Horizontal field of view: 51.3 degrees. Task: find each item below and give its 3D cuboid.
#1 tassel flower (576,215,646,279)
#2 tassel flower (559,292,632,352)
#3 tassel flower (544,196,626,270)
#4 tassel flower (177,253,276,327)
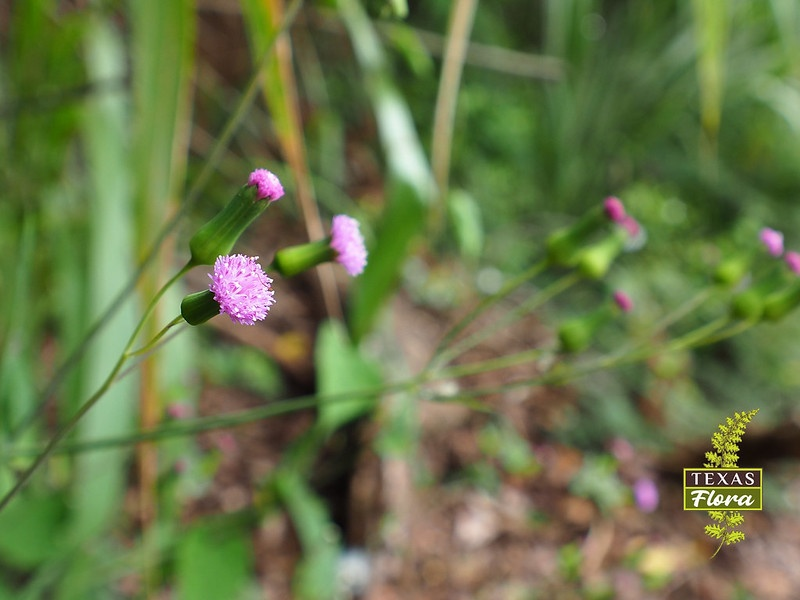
[{"bbox_3d":[0.177,-0.044,0.705,0.049,0.024,0.020,-45,76,-2],"label":"tassel flower"},{"bbox_3d":[0.170,0.020,0.716,0.043,0.020,0.019,-45,58,29],"label":"tassel flower"},{"bbox_3d":[0.158,-0.058,0.670,0.074,0.025,0.028,-39,43,38],"label":"tassel flower"},{"bbox_3d":[-0.116,-0.001,0.604,0.060,0.046,0.074,-3,90,58],"label":"tassel flower"}]
